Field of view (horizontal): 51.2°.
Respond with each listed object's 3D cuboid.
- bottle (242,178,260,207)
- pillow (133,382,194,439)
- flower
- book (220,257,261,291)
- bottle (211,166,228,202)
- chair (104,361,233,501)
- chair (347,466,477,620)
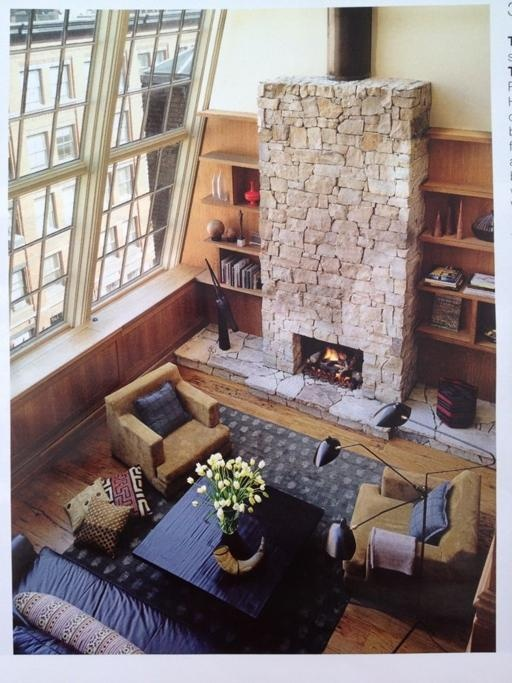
[{"bbox_3d":[-0.048,-1.542,5.568,0.149,0.266,0.268,0,12,-2],"label":"bottle"},{"bbox_3d":[-0.808,0.595,4.609,0.135,0.414,0.454,-25,7,47],"label":"pillow"},{"bbox_3d":[-0.209,1.073,3.692,0.474,0.482,0.450,-12,25,-36],"label":"flower"},{"bbox_3d":[-0.172,-0.754,5.884,0.383,0.146,0.397,6,14,18],"label":"book"},{"bbox_3d":[-0.387,-1.671,5.722,0.196,0.326,0.124,1,11,6],"label":"bottle"},{"bbox_3d":[-0.751,0.676,4.639,0.999,0.799,0.982,27,42,33],"label":"chair"},{"bbox_3d":[1.001,1.294,3.679,0.920,0.811,0.925,4,25,15],"label":"chair"}]
